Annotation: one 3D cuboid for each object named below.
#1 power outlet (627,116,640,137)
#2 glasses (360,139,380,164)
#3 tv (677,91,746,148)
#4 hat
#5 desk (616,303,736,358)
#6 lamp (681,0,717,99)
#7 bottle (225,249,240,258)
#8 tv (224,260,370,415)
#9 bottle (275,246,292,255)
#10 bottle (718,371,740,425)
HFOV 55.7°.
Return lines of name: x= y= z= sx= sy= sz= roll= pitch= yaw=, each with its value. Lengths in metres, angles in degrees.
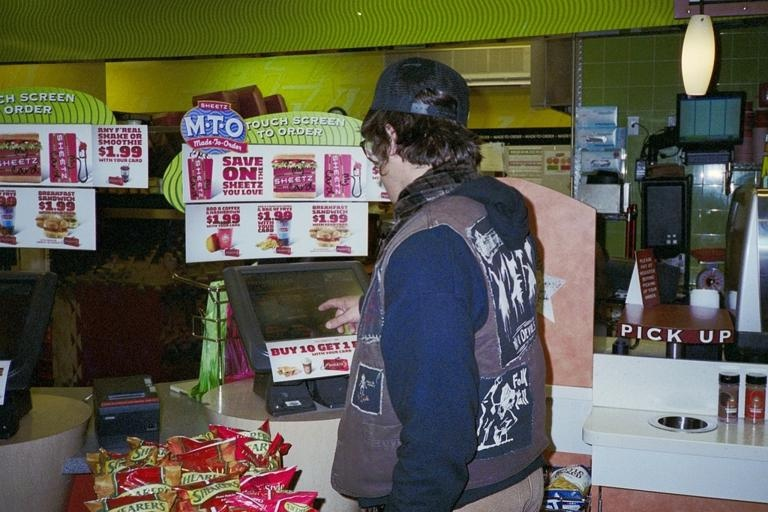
power outlet: x=1.450 y=-0.753 z=4.197 sx=0.073 sy=0.116 sz=0.050 roll=0 pitch=5 yaw=14
glasses: x=-0.038 y=-0.391 z=2.685 sx=0.088 sy=0.092 sz=0.028 roll=8 pitch=23 yaw=43
tv: x=1.855 y=-0.759 z=4.090 sx=0.319 sy=0.264 sz=0.034 roll=2 pitch=-2 yaw=9
hat: x=0.120 y=-0.609 z=2.784 sx=0.384 sy=0.260 sz=0.489 roll=6 pitch=-4 yaw=-15
desk: x=1.473 y=0.414 z=3.626 sx=0.492 sy=0.221 sz=0.352 roll=1 pitch=14 yaw=29
lamp: x=1.697 y=-1.092 z=3.907 sx=0.148 sy=0.415 sz=0.148 roll=1 pitch=6 yaw=30
bottle: x=-0.833 y=-0.020 z=4.017 sx=0.071 sy=0.050 sz=0.047 roll=4 pitch=-16 yaw=-3
tv: x=-0.350 y=0.354 z=3.318 sx=0.692 sy=0.650 sz=0.377 roll=-1 pitch=1 yaw=-30
bottle: x=-0.559 y=-0.033 z=4.073 sx=0.087 sy=0.053 sz=0.016 roll=-3 pitch=5 yaw=-18
bottle: x=1.652 y=0.667 z=3.464 sx=0.086 sy=0.237 sz=0.055 roll=0 pitch=5 yaw=19
